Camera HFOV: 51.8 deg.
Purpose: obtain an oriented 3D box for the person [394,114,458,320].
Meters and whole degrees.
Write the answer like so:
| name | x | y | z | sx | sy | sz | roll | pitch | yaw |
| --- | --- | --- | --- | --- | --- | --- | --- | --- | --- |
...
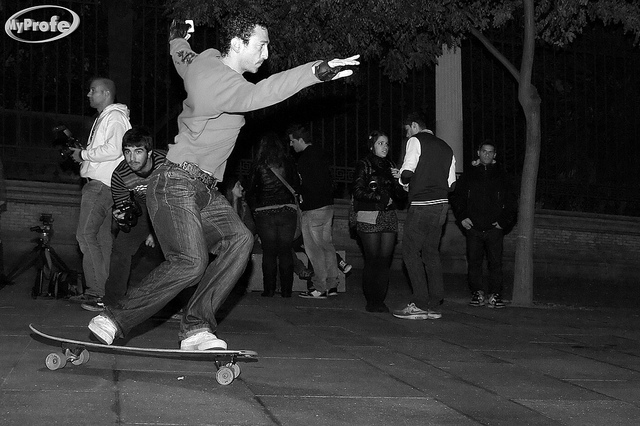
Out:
| name | x | y | z | sx | sy | sz | roll | pitch | yaw |
| --- | --- | --- | --- | --- | --- | --- | --- | --- | --- |
| person | 1.487 | 0.045 | 9.451 | 0.806 | 2.874 | 0.607 | 2 | 2 | -9 |

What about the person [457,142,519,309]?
| name | x | y | z | sx | sy | sz | roll | pitch | yaw |
| --- | --- | --- | --- | --- | --- | --- | --- | --- | --- |
| person | 2.728 | 0.183 | 10.908 | 0.959 | 2.682 | 0.552 | 3 | 2 | 12 |

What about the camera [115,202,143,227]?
| name | x | y | z | sx | sy | sz | roll | pitch | yaw |
| --- | --- | --- | --- | --- | --- | --- | --- | --- | --- |
| camera | -2.439 | 0.026 | 8.459 | 0.319 | 0.237 | 0.135 | -25 | 35 | -1 |

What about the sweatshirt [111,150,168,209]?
| name | x | y | z | sx | sy | sz | roll | pitch | yaw |
| --- | --- | --- | --- | --- | --- | --- | --- | --- | --- |
| sweatshirt | -2.038 | -0.377 | 7.463 | 0.726 | 0.555 | 0.241 | -4 | 30 | -2 |

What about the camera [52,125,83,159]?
| name | x | y | z | sx | sy | sz | roll | pitch | yaw |
| --- | --- | --- | --- | --- | --- | --- | --- | --- | --- |
| camera | -3.484 | -1.011 | 9.180 | 0.260 | 0.355 | 0.869 | -6 | 23 | -40 |
